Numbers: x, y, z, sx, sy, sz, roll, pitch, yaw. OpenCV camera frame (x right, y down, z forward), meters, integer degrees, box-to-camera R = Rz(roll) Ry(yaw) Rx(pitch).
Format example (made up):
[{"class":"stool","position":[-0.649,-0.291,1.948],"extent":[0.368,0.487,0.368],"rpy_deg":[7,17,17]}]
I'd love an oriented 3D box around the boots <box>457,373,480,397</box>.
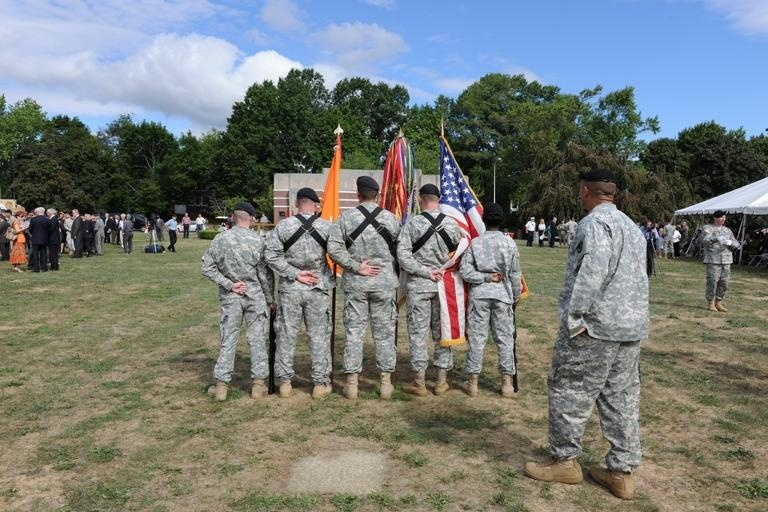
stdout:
[{"class":"boots","position":[1.303,1.976,8.808],"extent":[0.206,0.370,0.410],"rpy_deg":[2,8,-14]}]

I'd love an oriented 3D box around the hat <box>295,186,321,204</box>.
[{"class":"hat","position":[-1.110,-0.932,8.573],"extent":[0.247,0.151,0.324],"rpy_deg":[3,2,8]}]

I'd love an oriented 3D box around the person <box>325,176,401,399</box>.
[{"class":"person","position":[-0.284,0.502,8.448],"extent":[1.004,3.322,0.853],"rpy_deg":[2,13,2]}]

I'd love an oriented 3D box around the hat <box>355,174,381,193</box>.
[{"class":"hat","position":[-0.231,-1.074,8.423],"extent":[0.305,0.233,0.319],"rpy_deg":[0,13,-5]}]

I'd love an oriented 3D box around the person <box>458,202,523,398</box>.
[{"class":"person","position":[1.627,0.694,8.631],"extent":[0.993,2.924,0.734],"rpy_deg":[1,13,1]}]

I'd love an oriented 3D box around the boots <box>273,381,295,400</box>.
[{"class":"boots","position":[-1.460,2.016,8.393],"extent":[0.253,0.253,0.235],"rpy_deg":[2,-12,-12]}]

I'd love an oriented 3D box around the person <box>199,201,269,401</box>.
[{"class":"person","position":[-2.146,0.673,8.428],"extent":[1.008,2.847,0.939],"rpy_deg":[-3,14,-16]}]

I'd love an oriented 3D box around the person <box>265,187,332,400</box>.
[{"class":"person","position":[-1.223,0.557,8.428],"extent":[0.968,3.032,0.818],"rpy_deg":[0,13,-6]}]

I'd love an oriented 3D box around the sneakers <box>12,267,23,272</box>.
[{"class":"sneakers","position":[-11.924,0.456,18.469],"extent":[0.524,0.210,0.188],"rpy_deg":[-3,-4,35]}]

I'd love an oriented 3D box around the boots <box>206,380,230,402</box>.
[{"class":"boots","position":[-2.497,2.009,8.448],"extent":[0.379,0.348,0.226],"rpy_deg":[-2,-1,14]}]

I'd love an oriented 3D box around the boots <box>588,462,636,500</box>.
[{"class":"boots","position":[2.650,2.526,6.600],"extent":[0.253,0.365,0.621],"rpy_deg":[-7,12,-21]}]

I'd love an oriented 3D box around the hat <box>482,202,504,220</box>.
[{"class":"hat","position":[1.680,-0.687,8.669],"extent":[0.274,0.162,0.261],"rpy_deg":[0,2,2]}]

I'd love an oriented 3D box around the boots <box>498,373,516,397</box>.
[{"class":"boots","position":[1.897,2.004,8.666],"extent":[0.206,0.349,0.383],"rpy_deg":[1,4,21]}]

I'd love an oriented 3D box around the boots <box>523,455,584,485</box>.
[{"class":"boots","position":[2.002,2.534,6.779],"extent":[0.780,0.341,0.271],"rpy_deg":[3,1,14]}]
